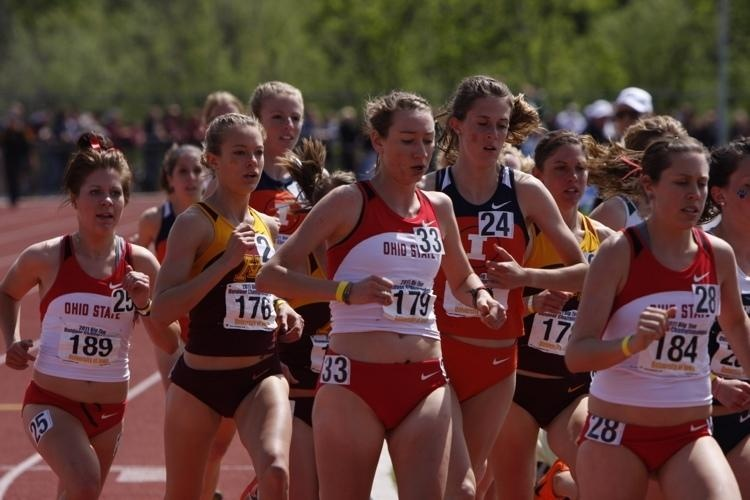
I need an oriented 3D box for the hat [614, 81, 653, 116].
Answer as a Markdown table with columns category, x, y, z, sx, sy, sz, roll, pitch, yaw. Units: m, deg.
| category | x | y | z | sx | sy | sz | roll | pitch | yaw |
| --- | --- | --- | --- | --- | --- | --- | --- | --- | --- |
| hat | 2.601 | -1.508 | 8.659 | 0.346 | 0.284 | 0.665 | 6 | 7 | 15 |
